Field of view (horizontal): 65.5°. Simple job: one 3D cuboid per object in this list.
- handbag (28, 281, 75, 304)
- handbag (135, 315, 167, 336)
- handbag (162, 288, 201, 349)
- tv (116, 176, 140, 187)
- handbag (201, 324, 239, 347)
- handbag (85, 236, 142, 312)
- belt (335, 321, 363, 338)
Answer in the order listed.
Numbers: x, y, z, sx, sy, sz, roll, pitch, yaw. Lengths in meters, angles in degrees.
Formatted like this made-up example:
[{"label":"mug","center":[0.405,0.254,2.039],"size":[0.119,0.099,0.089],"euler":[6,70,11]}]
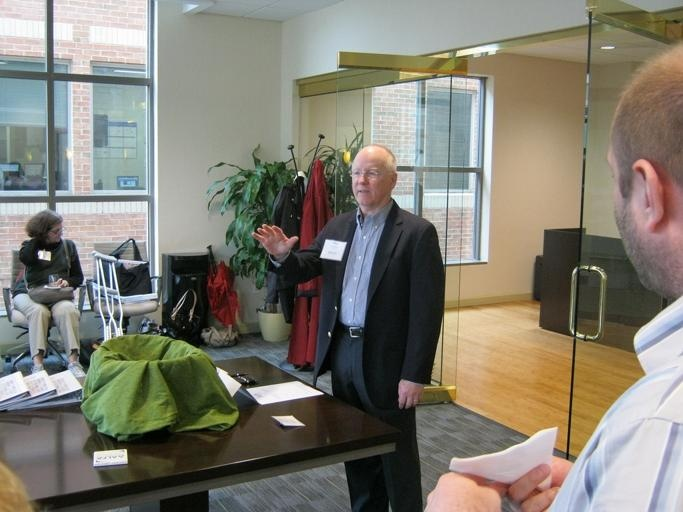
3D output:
[{"label":"handbag","center":[-2.846,0.370,5.190],"size":[0.381,0.231,0.159],"euler":[0,8,-33]},{"label":"handbag","center":[-2.070,0.769,5.749],"size":[0.278,0.197,0.391],"euler":[3,-5,3]},{"label":"handbag","center":[-1.815,0.707,6.002],"size":[0.360,0.628,0.458],"euler":[4,7,-1]},{"label":"tv","center":[-2.572,-0.883,6.350],"size":[0.218,0.127,0.152],"euler":[0,3,-18]},{"label":"handbag","center":[-1.432,0.920,6.172],"size":[0.294,0.156,0.228],"euler":[2,3,-24]},{"label":"handbag","center":[-2.408,0.175,5.819],"size":[0.715,1.021,0.726],"euler":[-2,-7,-23]},{"label":"belt","center":[0.035,0.353,2.523],"size":[0.025,0.063,0.169],"euler":[-2,9,-42]}]
